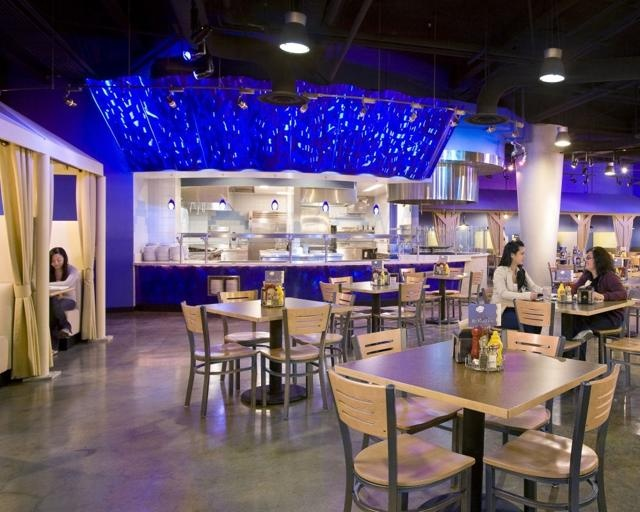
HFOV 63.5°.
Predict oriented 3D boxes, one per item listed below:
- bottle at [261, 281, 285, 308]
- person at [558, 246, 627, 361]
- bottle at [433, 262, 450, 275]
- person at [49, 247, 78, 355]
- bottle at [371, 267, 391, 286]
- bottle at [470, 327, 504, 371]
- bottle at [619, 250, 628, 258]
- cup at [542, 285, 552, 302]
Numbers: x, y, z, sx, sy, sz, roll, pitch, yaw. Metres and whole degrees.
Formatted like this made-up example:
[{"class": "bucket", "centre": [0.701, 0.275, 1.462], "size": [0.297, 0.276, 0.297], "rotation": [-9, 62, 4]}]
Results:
[{"class": "bottle", "centre": [-0.517, 0.424, 5.591], "size": [0.260, 0.304, 0.215], "rotation": [-1, 3, -9]}, {"class": "person", "centre": [3.295, 0.602, 6.331], "size": [0.756, 1.409, 0.737], "rotation": [5, -6, -14]}, {"class": "bottle", "centre": [2.180, 0.231, 9.272], "size": [0.244, 0.242, 0.221], "rotation": [2, -7, -11]}, {"class": "person", "centre": [-3.570, 0.600, 7.170], "size": [0.357, 1.447, 0.820], "rotation": [-2, 2, -27]}, {"class": "bottle", "centre": [0.894, 0.306, 7.529], "size": [0.224, 0.233, 0.231], "rotation": [0, 0, 34]}, {"class": "bottle", "centre": [1.092, 0.597, 3.412], "size": [0.239, 0.279, 0.251], "rotation": [1, -1, -23]}, {"class": "bottle", "centre": [9.234, -0.075, 15.686], "size": [0.236, 0.236, 0.138], "rotation": [1, 9, 16]}, {"class": "cup", "centre": [2.704, 0.454, 6.143], "size": [0.134, 0.228, 0.140], "rotation": [1, -4, 0]}]
